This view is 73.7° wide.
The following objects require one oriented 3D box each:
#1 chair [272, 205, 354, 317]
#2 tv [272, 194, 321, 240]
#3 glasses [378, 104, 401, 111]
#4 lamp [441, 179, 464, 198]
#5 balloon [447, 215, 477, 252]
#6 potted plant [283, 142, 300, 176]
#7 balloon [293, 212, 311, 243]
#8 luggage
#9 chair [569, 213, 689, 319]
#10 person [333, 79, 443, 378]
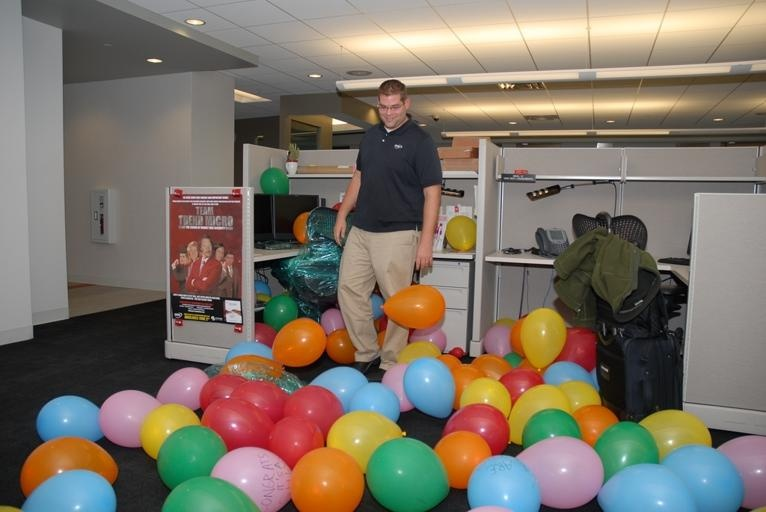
[{"bbox_3d":[-0.538,0.058,5.088,0.882,1.046,0.964,-1,-3,-27],"label":"chair"},{"bbox_3d":[-0.857,-0.381,5.043,0.045,0.330,0.465,2,5,28],"label":"tv"},{"bbox_3d":[0.072,-1.107,3.788,0.138,0.051,0.053,0,7,7],"label":"glasses"},{"bbox_3d":[0.724,-0.695,5.193,0.225,0.187,0.214,0,7,9],"label":"lamp"},{"bbox_3d":[0.777,-0.200,4.902,0.262,0.342,0.256,19,-18,-29],"label":"balloon"},{"bbox_3d":[-0.959,-1.041,5.483,0.145,0.337,0.206,-3,7,-12],"label":"potted plant"},{"bbox_3d":[-0.785,-0.291,5.063,0.189,0.228,0.195,-16,-31,17],"label":"balloon"},{"bbox_3d":[1.748,0.800,3.818,0.530,0.840,0.690,-1,-3,-1],"label":"luggage"},{"bbox_3d":[2.175,0.023,4.475,0.964,1.213,0.850,-1,3,10],"label":"chair"},{"bbox_3d":[0.051,-0.199,4.014,0.771,2.254,0.312,2,7,22],"label":"person"}]
